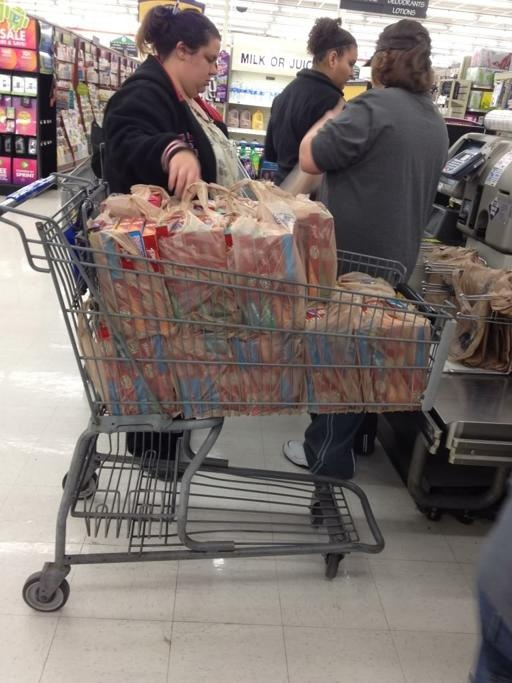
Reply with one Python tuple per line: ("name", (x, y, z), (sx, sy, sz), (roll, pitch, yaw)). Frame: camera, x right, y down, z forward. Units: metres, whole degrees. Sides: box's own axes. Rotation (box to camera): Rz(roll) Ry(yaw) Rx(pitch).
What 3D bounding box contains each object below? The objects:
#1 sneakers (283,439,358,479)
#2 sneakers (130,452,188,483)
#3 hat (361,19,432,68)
("sneakers", (0.266, 0.516, 2.392), (0.319, 0.123, 0.121), (30, 21, 5))
("sneakers", (-0.324, 0.426, 1.998), (0.134, 0.118, 0.237), (21, -5, 16))
("hat", (0.505, -1.074, 1.985), (0.183, 0.162, 0.133), (13, 35, 30))
